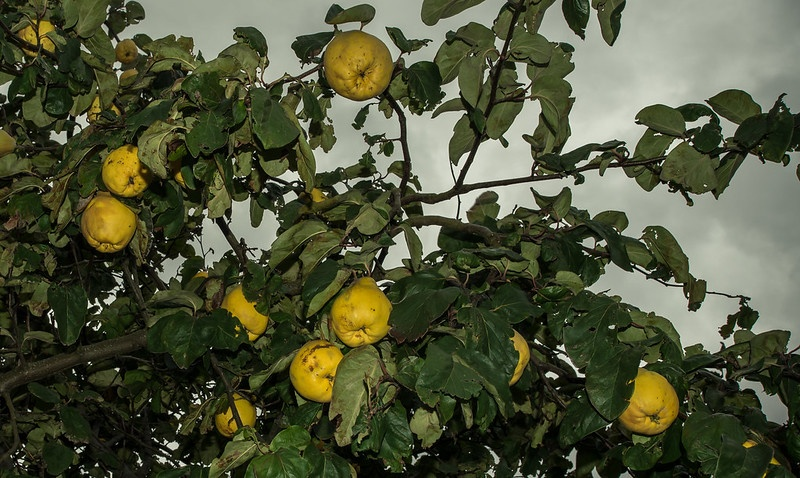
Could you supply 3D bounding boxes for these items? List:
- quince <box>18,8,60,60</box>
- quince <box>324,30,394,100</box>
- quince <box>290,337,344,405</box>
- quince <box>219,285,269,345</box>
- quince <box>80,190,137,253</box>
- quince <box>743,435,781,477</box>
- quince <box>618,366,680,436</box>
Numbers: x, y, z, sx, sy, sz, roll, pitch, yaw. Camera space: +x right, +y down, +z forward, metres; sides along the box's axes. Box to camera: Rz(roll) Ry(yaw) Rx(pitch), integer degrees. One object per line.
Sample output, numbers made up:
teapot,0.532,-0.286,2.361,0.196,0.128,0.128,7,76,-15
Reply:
quince,-2.845,-1.568,5.551,0.237,0.249,0.315,-41,-92,-9
quince,-0.345,-1.373,5.604,0.566,0.317,0.493,20,-59,-4
quince,-0.657,1.028,5.309,0.371,0.469,0.398,19,-60,-2
quince,-1.308,0.663,5.936,0.372,0.290,0.470,-7,-99,-12
quince,-2.356,-0.087,5.713,0.375,0.475,0.360,-15,-23,5
quince,2.777,1.656,5.399,0.313,0.255,0.169,21,-46,5
quince,1.966,1.249,5.549,0.459,0.593,0.453,4,-67,17
